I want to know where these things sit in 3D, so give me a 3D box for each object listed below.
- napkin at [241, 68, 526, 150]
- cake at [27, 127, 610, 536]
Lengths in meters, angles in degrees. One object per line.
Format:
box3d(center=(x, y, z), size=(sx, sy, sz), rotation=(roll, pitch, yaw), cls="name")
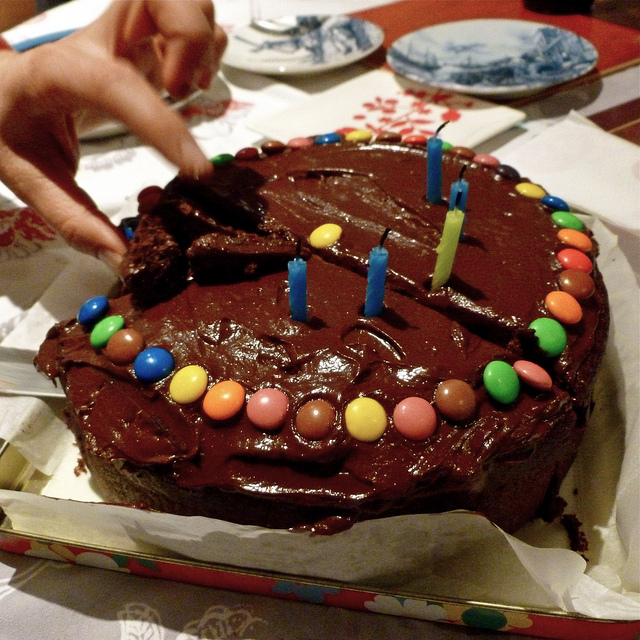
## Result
box3d(center=(0.290, -0.838, 2.753), size=(0.927, 0.169, 0.626), rotation=(29, 44, 35), cls="napkin")
box3d(center=(0.051, 0.027, 1.974), size=(1.447, 0.801, 1.319), rotation=(13, 54, 16), cls="cake")
